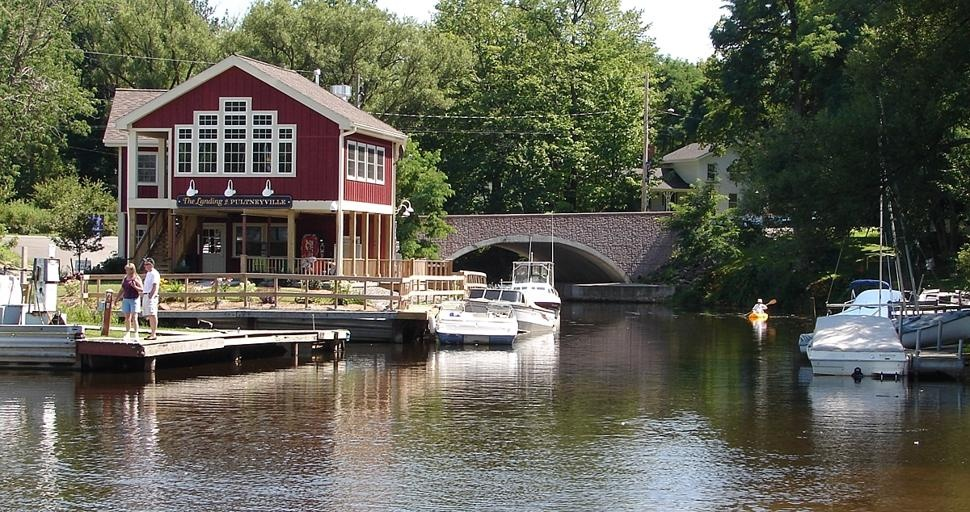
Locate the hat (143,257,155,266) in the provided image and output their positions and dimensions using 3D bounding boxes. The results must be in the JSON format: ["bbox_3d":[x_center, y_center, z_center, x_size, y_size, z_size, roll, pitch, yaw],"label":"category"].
[{"bbox_3d":[-16.061,0.257,63.558,0.510,0.240,0.365,21,6,26],"label":"hat"}]

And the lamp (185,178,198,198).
[{"bbox_3d":[-15.833,-3.686,71.933,0.717,0.972,0.992,5,19,-1],"label":"lamp"}]
